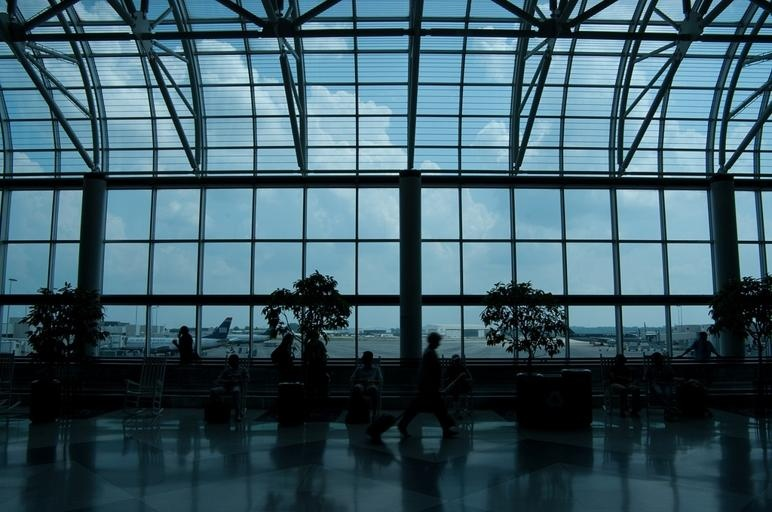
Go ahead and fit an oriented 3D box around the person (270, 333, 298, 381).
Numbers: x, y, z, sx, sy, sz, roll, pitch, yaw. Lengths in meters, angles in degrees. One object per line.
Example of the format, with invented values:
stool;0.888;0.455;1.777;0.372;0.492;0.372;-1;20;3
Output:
person;-3.436;3.421;24.791;0.739;1.629;0.814;8;17;23

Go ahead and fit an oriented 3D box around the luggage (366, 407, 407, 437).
luggage;-0.170;5.118;21.493;0.840;0.783;0.593;-2;16;-10

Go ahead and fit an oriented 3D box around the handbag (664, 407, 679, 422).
handbag;9.458;5.290;24.124;0.413;0.640;0.389;9;1;30

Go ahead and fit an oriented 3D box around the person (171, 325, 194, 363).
person;-7.737;3.384;27.713;0.710;1.308;0.793;-4;16;-17

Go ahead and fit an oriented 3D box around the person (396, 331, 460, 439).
person;1.266;3.923;21.689;1.662;3.199;0.970;1;16;1

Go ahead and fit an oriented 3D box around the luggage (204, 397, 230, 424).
luggage;-5.452;5.033;23.641;0.907;0.725;0.825;1;-6;-13
